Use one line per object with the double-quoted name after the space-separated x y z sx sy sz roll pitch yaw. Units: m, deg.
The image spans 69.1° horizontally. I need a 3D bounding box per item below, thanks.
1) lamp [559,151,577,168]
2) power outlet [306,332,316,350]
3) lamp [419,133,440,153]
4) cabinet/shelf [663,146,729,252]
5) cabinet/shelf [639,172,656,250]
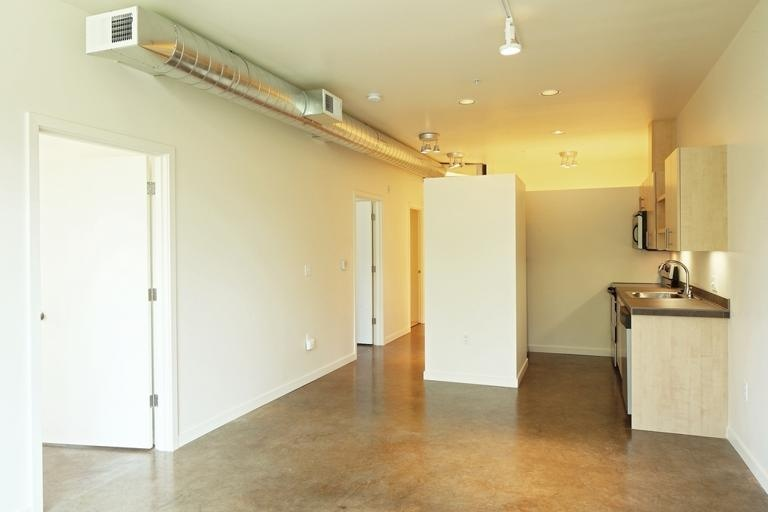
3.420 -1.794 10.303 0.302 0.217 0.271 2 4 12 "lamp"
-0.992 1.180 7.523 0.068 0.187 0.137 -4 -9 44 "power outlet"
0.734 -1.866 9.068 0.317 0.222 0.297 -1 -2 -37 "lamp"
3.405 -0.606 6.198 0.494 1.072 0.652 -2 5 12 "cabinet/shelf"
3.679 -0.577 7.753 0.235 0.842 1.229 0 0 18 "cabinet/shelf"
